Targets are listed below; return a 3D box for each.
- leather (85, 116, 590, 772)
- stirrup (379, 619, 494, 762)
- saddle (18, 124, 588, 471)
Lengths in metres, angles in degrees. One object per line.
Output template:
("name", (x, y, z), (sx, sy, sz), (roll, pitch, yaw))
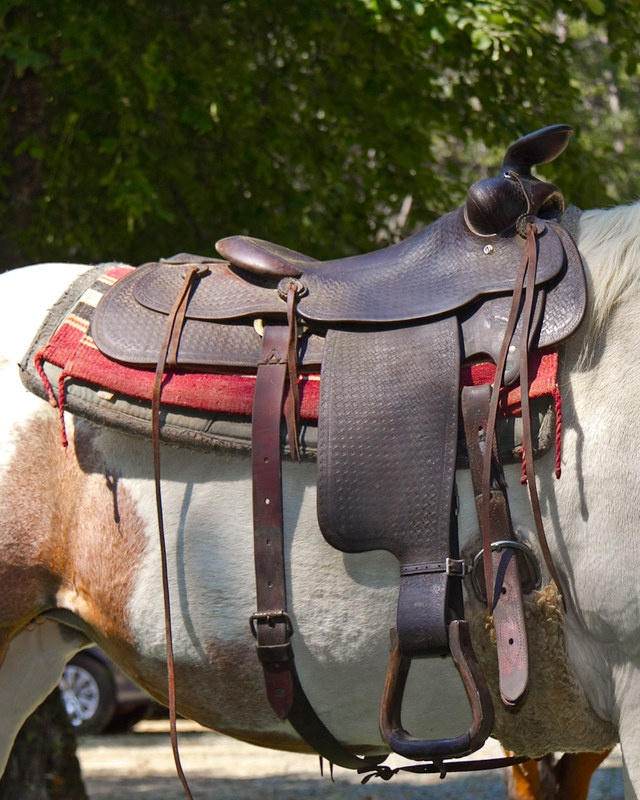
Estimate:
("leather", (0.170, 0.076, 2.437), (1.051, 0.533, 1.105), (-13, 64, -8))
("stirrup", (0.220, 0.540, 2.318), (0.311, 0.079, 0.275), (-11, 78, 27))
("saddle", (-0.046, -0.183, 2.479), (1.122, 0.357, 0.665), (-1, 43, 1))
